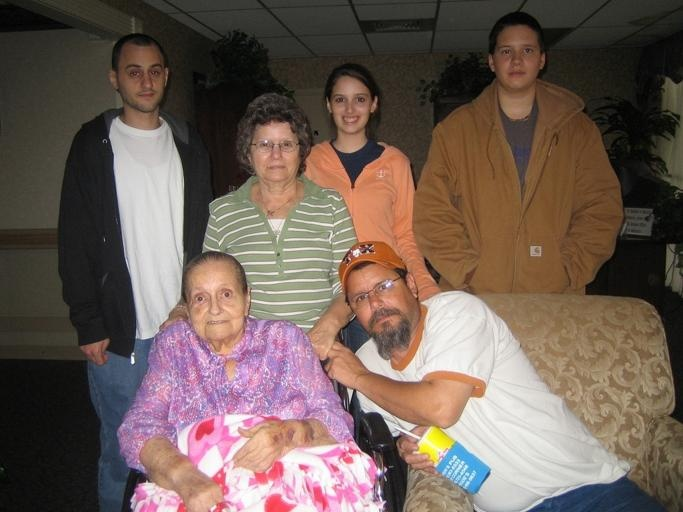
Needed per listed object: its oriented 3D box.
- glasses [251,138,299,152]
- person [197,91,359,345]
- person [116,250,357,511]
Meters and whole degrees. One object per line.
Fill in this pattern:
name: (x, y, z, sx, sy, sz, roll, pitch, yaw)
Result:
glasses: (-0.320, -0.525, 2.600, 0.221, 0.061, 0.052, 0, 9, -8)
person: (-0.316, -0.046, 2.596, 0.787, 1.451, 0.743, -3, 15, -7)
person: (-0.518, 0.633, 2.535, 0.825, 1.085, 0.382, -2, -24, -13)
